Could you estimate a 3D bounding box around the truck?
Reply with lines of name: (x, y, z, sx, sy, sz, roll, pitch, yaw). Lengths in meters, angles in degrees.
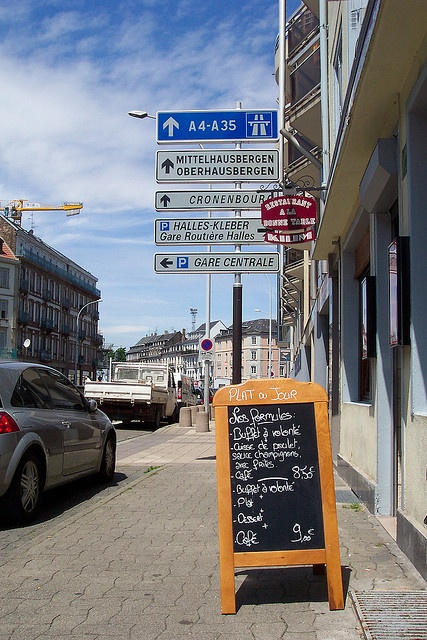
truck: (-3.084, 3.128, 21.913, 2.026, 2.324, 4.266, 0, -4, 6)

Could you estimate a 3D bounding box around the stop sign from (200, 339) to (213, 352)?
stop sign: (-0.352, 1.052, 21.398, 0.424, 0.513, 0.103, 18, -17, -37)

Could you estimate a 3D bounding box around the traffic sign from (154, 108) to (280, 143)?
traffic sign: (0.086, -3.489, 9.396, 2.225, 0.476, 0.177, -4, -1, -6)

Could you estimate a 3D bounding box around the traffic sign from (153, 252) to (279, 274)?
traffic sign: (0.058, -1.038, 9.509, 2.248, 0.307, 0.247, -4, -2, -3)
